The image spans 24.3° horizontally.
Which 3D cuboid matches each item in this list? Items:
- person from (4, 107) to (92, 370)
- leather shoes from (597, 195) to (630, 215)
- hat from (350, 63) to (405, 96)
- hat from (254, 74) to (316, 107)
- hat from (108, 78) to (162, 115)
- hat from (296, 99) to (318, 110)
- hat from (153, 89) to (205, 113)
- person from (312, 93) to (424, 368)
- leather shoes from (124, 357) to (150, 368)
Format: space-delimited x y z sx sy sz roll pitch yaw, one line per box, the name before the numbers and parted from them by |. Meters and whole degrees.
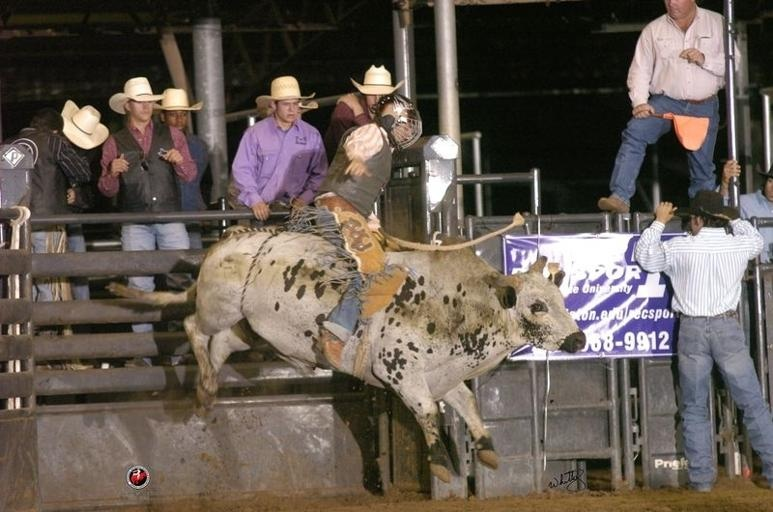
person | -4.167 -0.569 22.342 0.984 2.916 0.891 24 43 28
leather shoes | 2.722 -0.580 21.399 0.488 0.182 0.162 22 -34 -34
hat | -0.133 -2.028 21.239 0.536 0.205 0.538 1 15 -2
hat | -1.310 -1.939 21.572 0.538 0.182 0.552 -2 0 -20
hat | -3.196 -1.948 22.093 0.530 0.213 0.569 0 -9 -41
hat | -1.022 -1.850 22.246 0.342 0.129 0.339 -3 -5 -6
hat | -2.716 -1.921 22.681 0.428 0.160 0.477 -2 3 -20
person | -0.226 -0.285 20.322 1.249 3.036 0.489 -3 2 -4
leather shoes | -3.023 1.274 21.533 0.251 0.075 0.156 -1 -2 8
